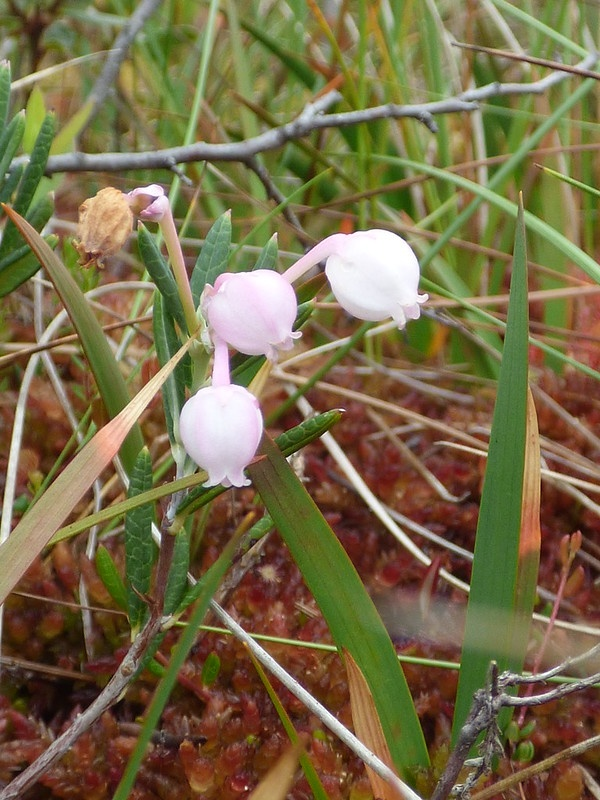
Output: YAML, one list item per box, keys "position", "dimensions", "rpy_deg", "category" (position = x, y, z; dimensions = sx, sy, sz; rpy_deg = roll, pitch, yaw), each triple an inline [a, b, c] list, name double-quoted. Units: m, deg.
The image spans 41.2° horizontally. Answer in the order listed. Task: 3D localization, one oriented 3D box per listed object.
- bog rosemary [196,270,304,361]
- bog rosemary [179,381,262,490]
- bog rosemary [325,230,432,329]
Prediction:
- position: [-0.060, -0.106, 0.977]
  dimensions: [0.125, 0.101, 0.098]
  rpy_deg: [5, 8, 6]
  category: "bog rosemary"
- position: [-0.086, 0.047, 0.969]
  dimensions: [0.112, 0.120, 0.115]
  rpy_deg: [-10, -11, 36]
  category: "bog rosemary"
- position: [0.099, -0.155, 1.036]
  dimensions: [0.122, 0.112, 0.111]
  rpy_deg: [16, 45, 25]
  category: "bog rosemary"
